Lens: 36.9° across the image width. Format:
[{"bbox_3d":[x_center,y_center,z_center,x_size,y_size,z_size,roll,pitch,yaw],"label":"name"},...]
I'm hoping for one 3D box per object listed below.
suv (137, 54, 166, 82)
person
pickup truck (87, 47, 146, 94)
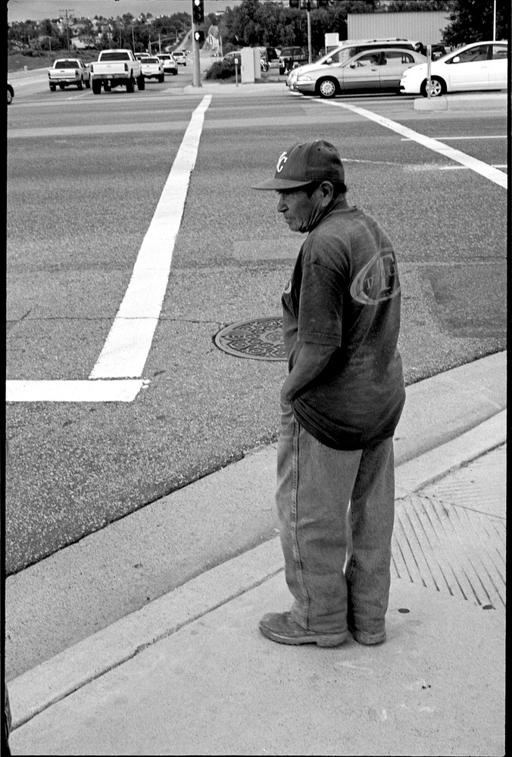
[{"bbox_3d":[-5.347,-15.970,39.884,0.798,1.213,2.433,1,33,-2],"label":"suv"},{"bbox_3d":[0.242,0.095,2.414,0.488,1.639,0.452,-1,7,-1],"label":"person"},{"bbox_3d":[-5.889,-12.736,32.275,1.372,2.115,4.049,0,12,8],"label":"pickup truck"}]
